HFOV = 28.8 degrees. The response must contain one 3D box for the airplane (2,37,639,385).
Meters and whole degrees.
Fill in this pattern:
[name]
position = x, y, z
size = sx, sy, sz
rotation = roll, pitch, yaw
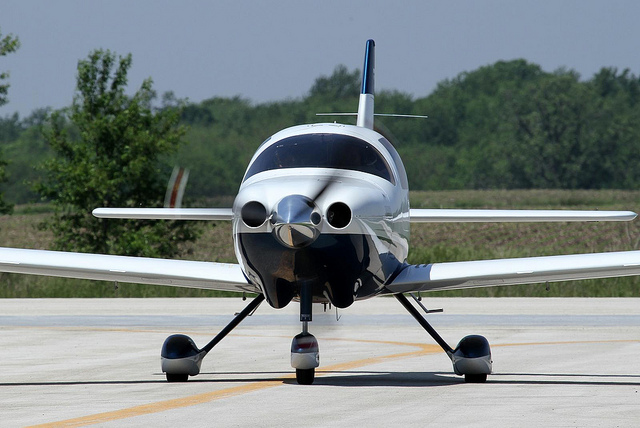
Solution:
[airplane]
position = 0.950, -0.404, 29.909
size = 11.998, 8.906, 8.529
rotation = -2, -7, 19
